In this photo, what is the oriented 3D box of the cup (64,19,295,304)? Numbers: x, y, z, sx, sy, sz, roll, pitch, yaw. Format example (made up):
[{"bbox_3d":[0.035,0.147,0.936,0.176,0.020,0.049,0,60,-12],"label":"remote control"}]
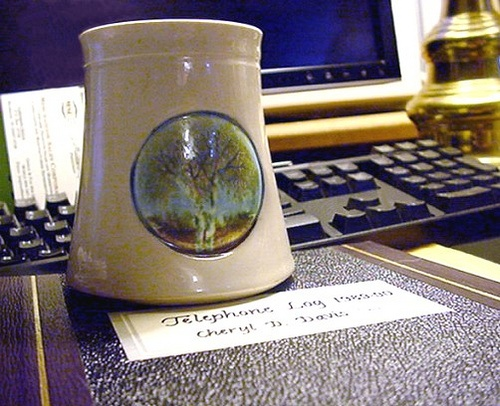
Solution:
[{"bbox_3d":[-0.040,-0.033,0.301,0.184,0.159,0.161,-1,14,-5],"label":"cup"}]
